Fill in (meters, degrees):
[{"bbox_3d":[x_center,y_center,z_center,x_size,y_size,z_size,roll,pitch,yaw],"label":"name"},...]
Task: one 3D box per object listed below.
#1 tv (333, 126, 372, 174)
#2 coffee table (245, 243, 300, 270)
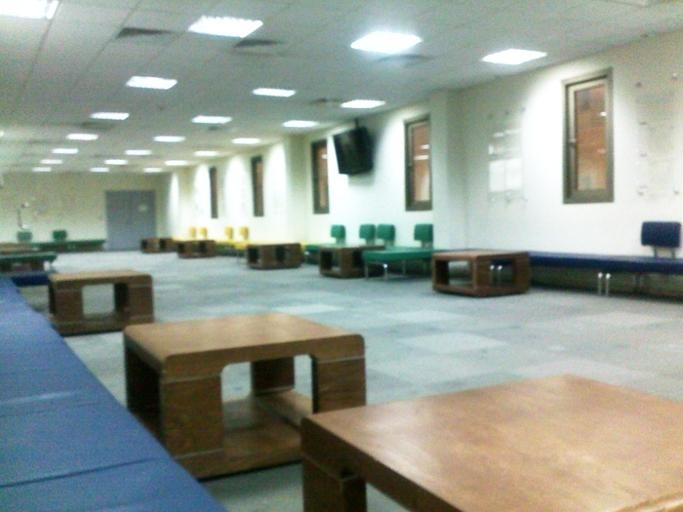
[{"bbox_3d":[0.270,-2.334,11.194,0.204,0.846,1.165,-12,10,-29],"label":"tv"},{"bbox_3d":[-1.429,-0.019,11.733,1.524,0.575,1.412,-4,3,-28],"label":"coffee table"}]
